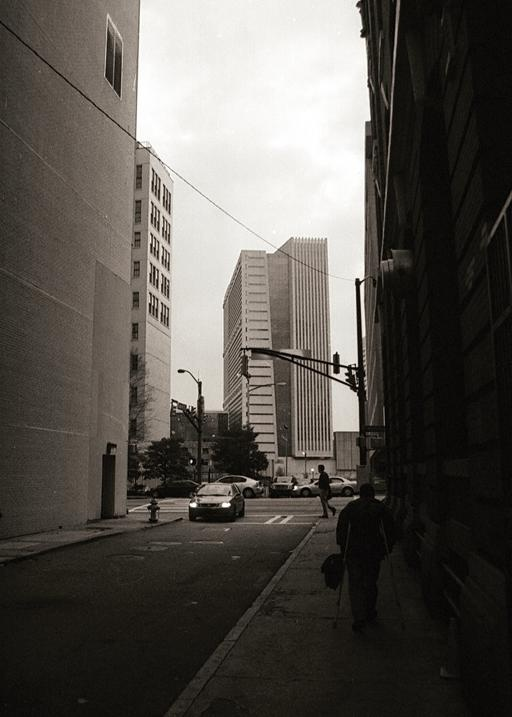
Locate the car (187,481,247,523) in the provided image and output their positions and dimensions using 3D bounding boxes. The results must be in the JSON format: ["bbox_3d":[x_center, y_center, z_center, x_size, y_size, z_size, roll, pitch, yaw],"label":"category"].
[{"bbox_3d":[-1.448,5.306,23.126,1.640,1.458,2.743,-4,-13,8],"label":"car"}]

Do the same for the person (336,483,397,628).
[{"bbox_3d":[1.100,2.015,6.501,0.693,1.415,0.570,5,-10,-35],"label":"person"}]

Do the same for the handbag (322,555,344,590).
[{"bbox_3d":[0.783,2.163,6.235,0.231,0.117,0.301,11,-36,50],"label":"handbag"}]

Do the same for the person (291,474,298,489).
[{"bbox_3d":[2.939,9.446,47.796,0.503,0.757,1.124,1,0,3],"label":"person"}]
